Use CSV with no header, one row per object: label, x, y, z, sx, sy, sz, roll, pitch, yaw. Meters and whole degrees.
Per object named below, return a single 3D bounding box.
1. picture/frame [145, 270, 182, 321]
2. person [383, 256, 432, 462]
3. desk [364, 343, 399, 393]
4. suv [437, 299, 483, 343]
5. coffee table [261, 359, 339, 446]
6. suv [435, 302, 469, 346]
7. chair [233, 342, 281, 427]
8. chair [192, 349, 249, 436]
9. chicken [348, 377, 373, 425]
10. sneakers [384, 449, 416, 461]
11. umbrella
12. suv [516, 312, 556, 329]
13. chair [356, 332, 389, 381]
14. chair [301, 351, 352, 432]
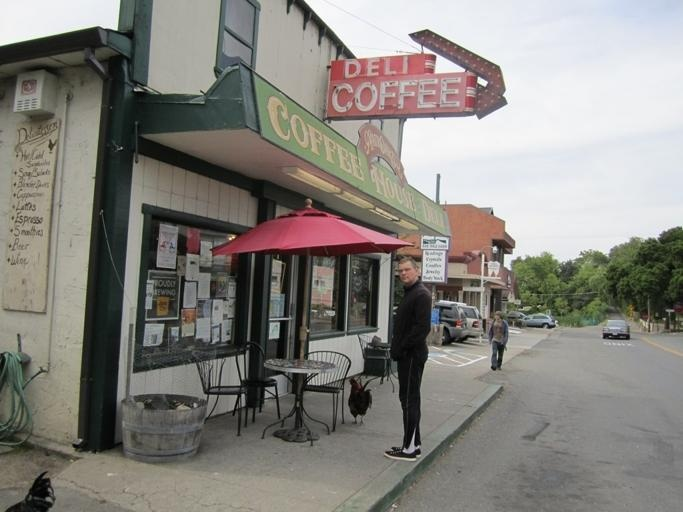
picture/frame,-2.487,0.540,7.937,0.046,0.703,0.653,1,-2,19
person,0.876,1.320,7.558,0.618,2.651,0.640,-2,-4,5
desk,0.910,2.378,12.695,0.653,1.048,0.675,-4,-5,27
suv,5.101,3.027,26.495,2.550,1.321,1.471,2,-3,25
coffee table,-0.618,2.094,8.272,0.896,0.996,0.922,-4,-8,37
suv,5.351,2.992,25.997,2.149,1.255,1.093,2,-3,23
chair,-1.254,1.967,9.250,0.559,1.218,0.602,-3,-4,31
chair,-1.741,1.958,8.281,0.677,1.015,0.688,-6,-6,30
chicken,0.252,2.229,8.885,0.361,0.786,0.778,-2,-15,19
sneakers,0.761,2.585,7.505,0.389,0.180,0.156,6,-5,18
umbrella,-0.453,0.625,8.670,2.273,2.791,2.546,4,3,37
suv,19.028,6.610,55.943,4.002,1.580,1.968,1,-4,12
chair,0.768,2.178,12.819,0.659,1.083,0.727,-9,-1,28
chair,-0.278,2.123,9.309,0.797,1.149,0.682,4,-6,9
